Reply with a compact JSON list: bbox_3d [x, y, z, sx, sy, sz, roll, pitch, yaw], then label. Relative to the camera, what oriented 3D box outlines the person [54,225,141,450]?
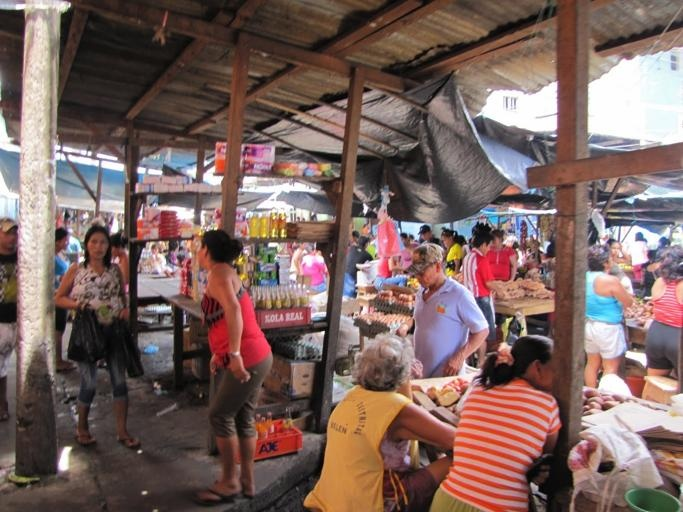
[{"bbox_3d":[-2.419,0.798,5.463,0.751,1.670,0.412,-2,-1,-29],"label":"person"}]

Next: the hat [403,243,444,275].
[{"bbox_3d":[0.813,0.027,5.509,0.336,0.325,0.263,7,2,-4],"label":"hat"}]

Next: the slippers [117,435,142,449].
[{"bbox_3d":[-2.121,1.859,5.475,0.204,0.068,0.107,3,2,45],"label":"slippers"}]

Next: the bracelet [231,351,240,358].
[{"bbox_3d":[-0.898,0.819,4.598,0.073,0.038,0.047,-2,-1,-26],"label":"bracelet"}]

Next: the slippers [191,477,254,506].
[{"bbox_3d":[-1.022,2.003,4.691,0.458,0.137,0.191,4,0,-14],"label":"slippers"}]

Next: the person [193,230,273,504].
[{"bbox_3d":[-0.942,0.936,4.803,0.613,1.960,0.459,-2,-1,0],"label":"person"}]
